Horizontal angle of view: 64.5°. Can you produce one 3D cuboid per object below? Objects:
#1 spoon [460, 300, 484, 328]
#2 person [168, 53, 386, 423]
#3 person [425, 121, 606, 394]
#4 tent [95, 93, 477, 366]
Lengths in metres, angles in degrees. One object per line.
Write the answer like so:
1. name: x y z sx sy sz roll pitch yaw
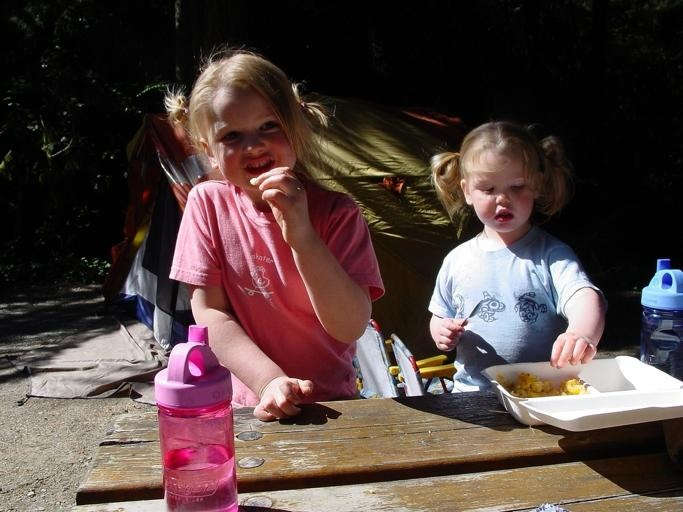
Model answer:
1. spoon: 0.499 0.218 2.050 0.023 0.120 0.019 30 20 -32
2. person: -0.226 -0.080 1.721 0.680 1.050 0.642 2 11 43
3. person: 0.630 0.002 2.024 0.575 1.010 1.154 1 12 8
4. tent: -0.672 -0.455 4.665 2.549 1.126 2.675 -2 6 -38
